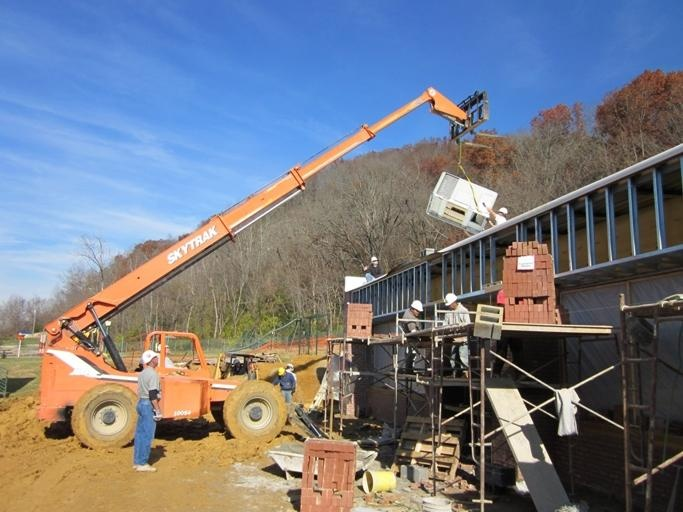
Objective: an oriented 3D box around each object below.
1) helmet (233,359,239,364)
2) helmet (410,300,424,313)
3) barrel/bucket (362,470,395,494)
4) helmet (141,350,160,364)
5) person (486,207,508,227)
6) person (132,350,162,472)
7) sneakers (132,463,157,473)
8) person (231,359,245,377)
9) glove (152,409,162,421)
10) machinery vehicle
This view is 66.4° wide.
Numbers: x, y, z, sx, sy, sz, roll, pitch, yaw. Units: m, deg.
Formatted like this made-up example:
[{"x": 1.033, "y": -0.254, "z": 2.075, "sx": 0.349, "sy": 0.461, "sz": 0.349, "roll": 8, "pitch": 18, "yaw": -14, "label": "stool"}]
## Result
[{"x": -4.732, "y": 4.738, "z": 23.523, "sx": 0.262, "sy": 0.151, "sz": 0.211, "roll": 15, "pitch": -9, "yaw": -41, "label": "helmet"}, {"x": 2.196, "y": 1.432, "z": 15.098, "sx": 0.320, "sy": 0.243, "sz": 0.421, "roll": 22, "pitch": -3, "yaw": 4, "label": "helmet"}, {"x": 0.836, "y": 5.070, "z": 11.849, "sx": 0.750, "sy": 0.546, "sz": 0.534, "roll": -2, "pitch": -10, "yaw": -14, "label": "barrel/bucket"}, {"x": -4.560, "y": 2.364, "z": 12.398, "sx": 0.434, "sy": 0.250, "sz": 0.333, "roll": -24, "pitch": 6, "yaw": -15, "label": "helmet"}, {"x": 5.140, "y": -1.327, "z": 17.328, "sx": 0.624, "sy": 0.662, "sz": 1.032, "roll": -1, "pitch": -8, "yaw": 13, "label": "person"}, {"x": -4.409, "y": 3.685, "z": 11.899, "sx": 0.510, "sy": 2.315, "sz": 0.623, "roll": 4, "pitch": -7, "yaw": -24, "label": "person"}, {"x": -4.454, "y": 4.794, "z": 11.879, "sx": 0.520, "sy": 0.255, "sz": 0.198, "roll": 2, "pitch": -7, "yaw": -14, "label": "sneakers"}, {"x": -4.563, "y": 4.942, "z": 23.345, "sx": 0.767, "sy": 0.873, "sz": 0.619, "roll": -3, "pitch": -6, "yaw": 18, "label": "person"}, {"x": -4.168, "y": 3.599, "z": 11.838, "sx": 0.233, "sy": 0.245, "sz": 0.178, "roll": -11, "pitch": 6, "yaw": -21, "label": "glove"}, {"x": -0.233, "y": 2.091, "z": 23.402, "sx": 19.151, "sy": 17.819, "sz": 6.478, "roll": 1, "pitch": -5, "yaw": -17, "label": "machinery vehicle"}]
